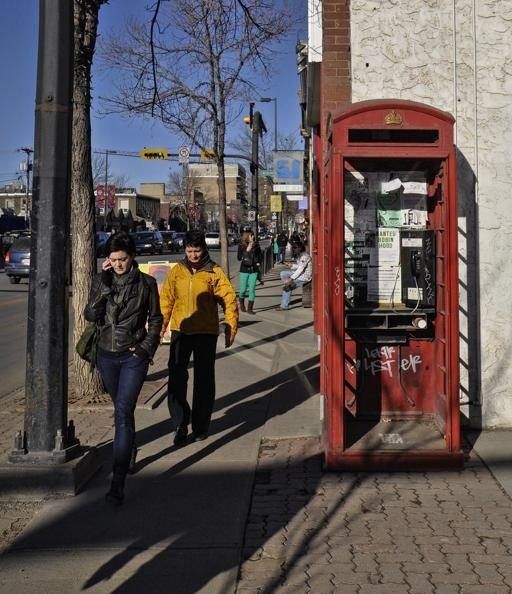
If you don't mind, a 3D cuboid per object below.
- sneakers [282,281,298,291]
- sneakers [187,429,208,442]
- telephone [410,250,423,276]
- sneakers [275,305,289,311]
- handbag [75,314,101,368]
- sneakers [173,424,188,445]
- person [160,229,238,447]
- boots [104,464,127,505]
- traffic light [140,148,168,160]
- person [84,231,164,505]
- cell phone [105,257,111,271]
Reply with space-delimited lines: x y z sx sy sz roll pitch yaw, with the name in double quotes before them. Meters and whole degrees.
"sneakers" 0.733 -0.248 16.717 0.240 0.154 0.358 -3 10 0
"sneakers" -0.523 1.212 6.336 0.188 0.144 0.073 0 8 -5
"telephone" 1.282 -0.283 5.902 0.042 0.194 0.106 -6 8 -39
"sneakers" 0.535 0.257 16.706 0.313 0.147 0.113 5 8 31
"handbag" -1.194 0.344 5.278 0.193 0.273 0.112 14 -4 8
"sneakers" -0.649 1.177 6.155 0.067 0.091 0.211 3 10 2
"person" -0.493 0.336 6.264 0.631 1.812 0.414 -3 6 -10
"boots" -0.932 1.251 4.861 0.096 0.244 0.243 6 0 3
"traffic light" -3.620 -5.052 25.617 1.079 0.392 0.308 2 7 27
"person" -0.889 0.440 5.034 0.536 1.753 0.602 -4 6 -18
"cell phone" -1.043 -0.227 5.076 0.054 0.077 0.026 0 8 -37
